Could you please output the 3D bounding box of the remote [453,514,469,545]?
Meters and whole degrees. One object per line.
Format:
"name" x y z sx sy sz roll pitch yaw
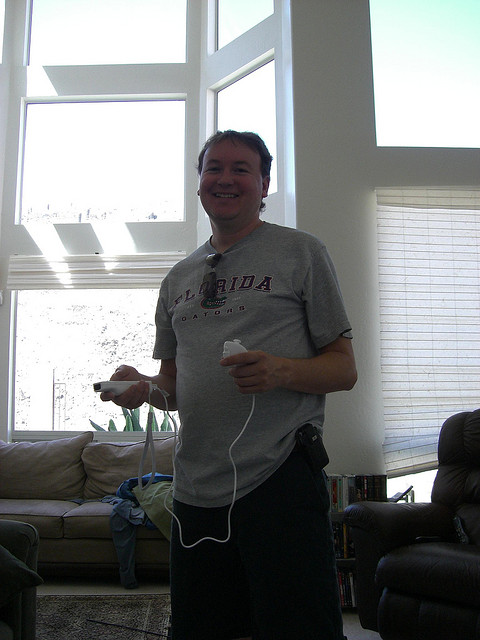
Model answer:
"remote" 0.914 0.883 2.474 0.031 0.110 0.060 13 -43 -17

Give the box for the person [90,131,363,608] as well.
"person" -0.056 0.061 1.218 0.366 0.970 0.477 4 -8 -44

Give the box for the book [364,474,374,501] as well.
"book" 0.671 0.874 3.058 0.068 0.106 0.118 0 -4 3

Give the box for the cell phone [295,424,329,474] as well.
"cell phone" 0.138 0.241 1.098 0.071 0.088 0.030 2 -7 -33

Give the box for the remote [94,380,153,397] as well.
"remote" -0.239 0.142 1.283 0.163 0.037 0.040 7 -40 -48

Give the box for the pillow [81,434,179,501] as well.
"pillow" -0.765 1.042 4.100 0.735 0.455 0.246 2 21 -12

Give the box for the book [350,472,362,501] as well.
"book" 0.610 0.877 3.080 0.042 0.102 0.114 0 -10 5

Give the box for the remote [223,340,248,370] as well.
"remote" -0.014 0.068 1.031 0.053 0.052 0.035 -2 -1 -6

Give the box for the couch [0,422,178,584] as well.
"couch" -0.862 1.065 3.364 1.405 0.532 0.566 -1 9 7

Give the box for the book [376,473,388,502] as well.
"book" 0.740 0.880 3.070 0.059 0.127 0.143 0 2 3

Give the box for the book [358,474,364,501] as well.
"book" 0.638 0.875 3.053 0.022 0.084 0.089 6 -3 5
